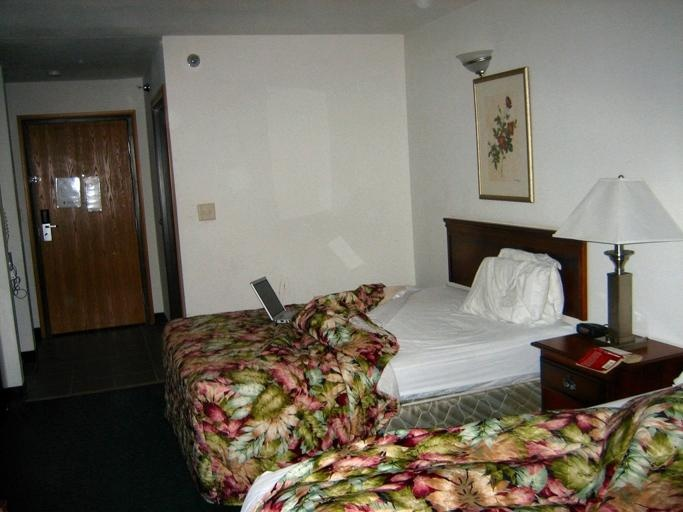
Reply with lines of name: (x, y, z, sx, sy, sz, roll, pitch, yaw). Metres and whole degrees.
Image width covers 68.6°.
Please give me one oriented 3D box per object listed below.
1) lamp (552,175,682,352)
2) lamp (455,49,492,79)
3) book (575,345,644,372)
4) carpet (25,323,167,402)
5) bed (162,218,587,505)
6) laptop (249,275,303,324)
lamp: (1.523, 0.036, 2.801, 0.326, 0.953, 0.582, -6, 9, -25)
lamp: (1.082, -1.575, 4.035, 0.190, 0.152, 0.212, 0, 9, 23)
book: (1.439, 0.575, 2.693, 0.235, 0.090, 0.266, -9, 12, -36)
carpet: (-2.558, 1.040, 5.176, 1.331, 0.115, 2.111, -6, 10, -21)
bed: (0.066, 0.638, 3.412, 2.205, 1.346, 1.715, -5, 11, -20)
laptop: (-0.510, 0.335, 3.645, 0.242, 0.311, 0.347, -24, 6, 14)
